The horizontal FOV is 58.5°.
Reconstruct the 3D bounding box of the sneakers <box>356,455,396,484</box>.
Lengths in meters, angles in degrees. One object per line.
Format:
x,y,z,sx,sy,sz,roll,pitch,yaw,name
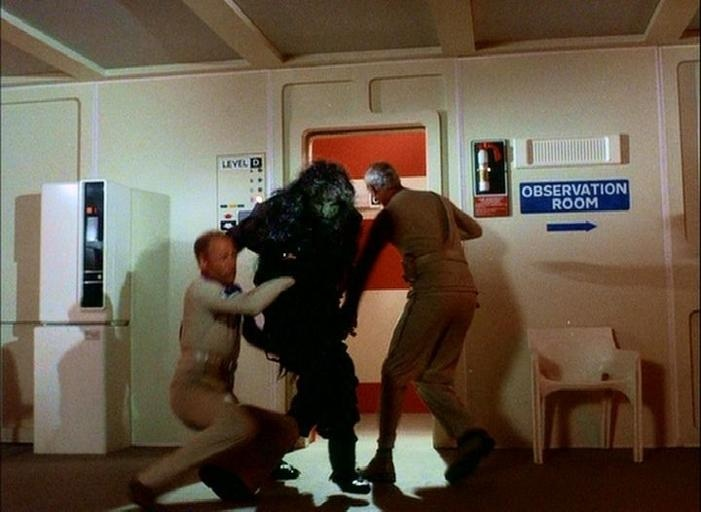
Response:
0.164,1.370,4.072,0.300,0.137,0.120,-1,-6,40,sneakers

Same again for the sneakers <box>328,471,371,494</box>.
-0.001,1.410,3.888,0.219,0.108,0.108,0,-2,22,sneakers

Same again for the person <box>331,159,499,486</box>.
0.437,0.400,4.200,0.883,1.983,0.599,-1,0,0,person

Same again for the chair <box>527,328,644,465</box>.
1.606,0.955,4.399,0.715,0.909,0.644,0,-9,4,chair

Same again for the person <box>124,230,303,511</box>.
-0.830,0.693,4.004,0.706,1.694,0.937,-1,1,22,person

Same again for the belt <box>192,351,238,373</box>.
-0.823,0.642,3.805,0.268,0.125,0.028,7,1,-25,belt

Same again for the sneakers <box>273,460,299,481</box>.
-0.429,1.424,4.153,0.140,0.055,0.103,6,5,0,sneakers
